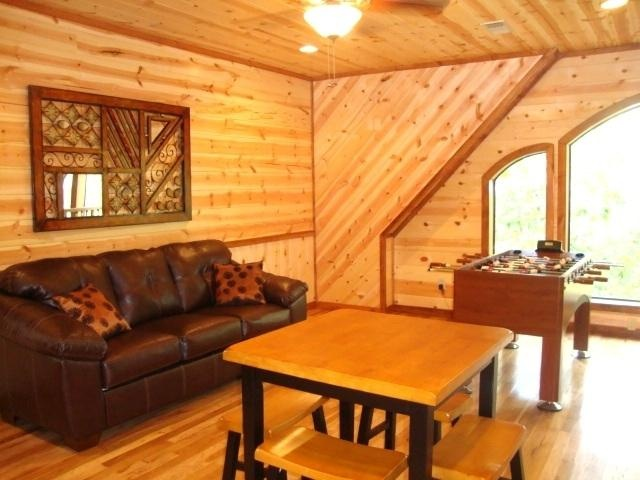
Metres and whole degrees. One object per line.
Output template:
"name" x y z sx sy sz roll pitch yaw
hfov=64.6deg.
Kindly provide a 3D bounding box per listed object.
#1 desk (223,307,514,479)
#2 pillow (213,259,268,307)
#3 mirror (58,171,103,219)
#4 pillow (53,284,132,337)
"desk" 0.266 0.544 2.566 1.067 0.758 1.061 5 12 30
"pillow" -0.805 0.409 5.006 0.521 0.396 0.137 2 -33 -11
"mirror" -2.134 -0.404 4.483 0.044 0.380 0.390 3 24 41
"pillow" -1.799 0.573 3.988 0.353 0.363 0.408 7 12 21
